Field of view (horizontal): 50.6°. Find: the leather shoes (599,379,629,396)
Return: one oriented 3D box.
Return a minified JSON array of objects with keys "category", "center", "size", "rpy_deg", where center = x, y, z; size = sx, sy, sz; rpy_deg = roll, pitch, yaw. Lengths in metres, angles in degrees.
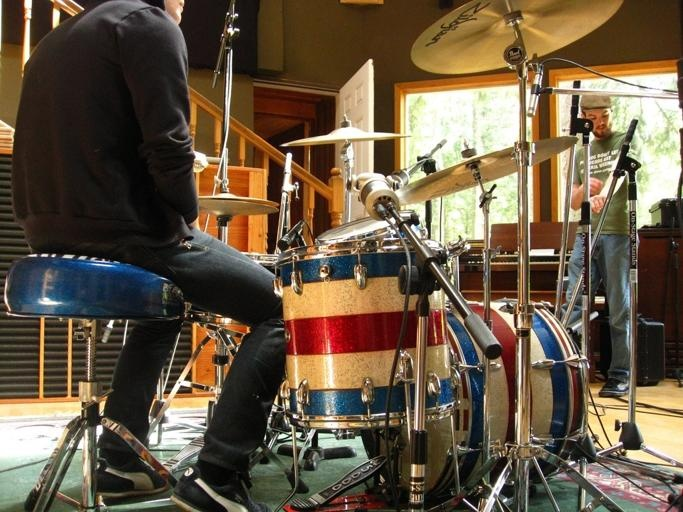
[{"category":"leather shoes","center":[1.741,0.844,4.622],"size":[0.108,0.105,0.258],"rpy_deg":[-8,-14,37]}]

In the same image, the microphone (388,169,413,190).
[{"category":"microphone","center":[0.212,-0.278,2.642],"size":[0.037,0.073,0.100],"rpy_deg":[-7,15,47]}]

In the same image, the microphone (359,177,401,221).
[{"category":"microphone","center":[0.126,-0.191,2.329],"size":[0.123,0.132,0.186],"rpy_deg":[-26,8,5]}]

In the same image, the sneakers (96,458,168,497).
[{"category":"sneakers","center":[-0.795,0.839,2.788],"size":[0.339,0.160,0.147],"rpy_deg":[4,-8,-24]}]

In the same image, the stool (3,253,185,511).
[{"category":"stool","center":[-0.858,0.412,2.752],"size":[0.733,1.023,0.729],"rpy_deg":[0,0,-33]}]

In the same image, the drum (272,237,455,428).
[{"category":"drum","center":[0.125,0.251,2.585],"size":[0.559,0.524,0.574],"rpy_deg":[-3,-2,26]}]

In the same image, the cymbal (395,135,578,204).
[{"category":"cymbal","center":[0.505,-0.322,2.792],"size":[0.409,0.103,0.410],"rpy_deg":[-15,-8,-44]}]

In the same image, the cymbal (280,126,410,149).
[{"category":"cymbal","center":[0.002,-0.619,3.709],"size":[0.571,0.129,0.587],"rpy_deg":[-2,12,10]}]

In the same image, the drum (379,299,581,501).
[{"category":"drum","center":[0.493,0.488,3.022],"size":[0.648,0.886,0.812],"rpy_deg":[-4,-6,-21]}]

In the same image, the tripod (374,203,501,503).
[{"category":"tripod","center":[0.265,0.285,2.129],"size":[0.243,0.929,0.481],"rpy_deg":[1,-4,-17]}]
